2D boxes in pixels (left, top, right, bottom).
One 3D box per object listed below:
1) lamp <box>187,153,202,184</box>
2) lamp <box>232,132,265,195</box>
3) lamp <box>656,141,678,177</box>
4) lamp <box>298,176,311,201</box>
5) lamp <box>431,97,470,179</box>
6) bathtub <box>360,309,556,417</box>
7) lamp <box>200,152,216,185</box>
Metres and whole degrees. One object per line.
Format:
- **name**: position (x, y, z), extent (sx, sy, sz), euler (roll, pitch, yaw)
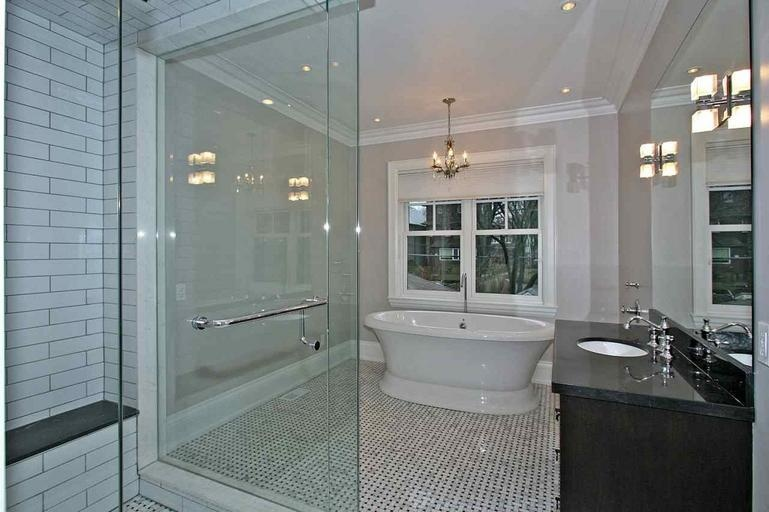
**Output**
- **lamp**: position (-1.242, -0.566, 3.359), extent (0.079, 0.201, 0.055), euler (-1, 11, -2)
- **lamp**: position (-0.852, -0.590, 3.261), extent (0.204, 0.378, 0.085), euler (4, 12, 22)
- **lamp**: position (1.991, -0.682, 3.610), extent (0.165, 0.253, 0.173), euler (-3, 7, 17)
- **lamp**: position (-0.495, -0.419, 3.190), extent (0.084, 0.126, 0.031), euler (1, 0, 7)
- **lamp**: position (0.709, -1.219, 5.464), extent (0.408, 0.814, 0.929), euler (1, 11, 7)
- **bathtub**: position (0.709, 0.953, 5.145), extent (1.831, 0.773, 0.991), euler (3, 11, 19)
- **lamp**: position (-1.139, -0.573, 3.343), extent (0.095, 0.201, 0.051), euler (-1, 11, 2)
